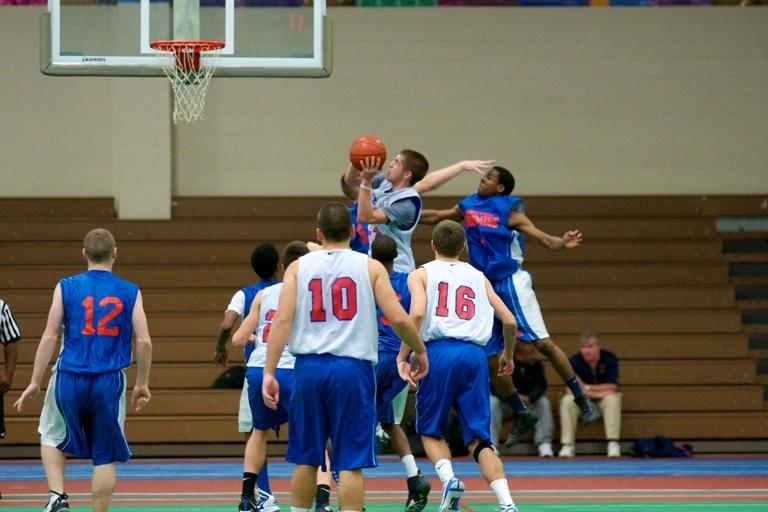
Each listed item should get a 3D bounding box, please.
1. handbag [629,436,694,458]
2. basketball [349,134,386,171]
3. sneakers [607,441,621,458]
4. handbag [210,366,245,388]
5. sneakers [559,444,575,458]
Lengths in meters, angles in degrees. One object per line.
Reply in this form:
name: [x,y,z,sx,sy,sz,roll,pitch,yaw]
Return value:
handbag: [3.695,2.509,20.065,0.788,0.262,0.246,1,5,3]
basketball: [-0.172,-1.157,16.904,0.374,0.377,0.441,1,5,-3]
sneakers: [3.058,2.530,20.003,0.170,0.225,0.156,1,5,7]
handbag: [-2.053,1.609,20.270,0.387,0.297,0.294,4,-8,27]
sneakers: [2.436,2.555,20.002,0.196,0.164,0.110,1,5,-2]
